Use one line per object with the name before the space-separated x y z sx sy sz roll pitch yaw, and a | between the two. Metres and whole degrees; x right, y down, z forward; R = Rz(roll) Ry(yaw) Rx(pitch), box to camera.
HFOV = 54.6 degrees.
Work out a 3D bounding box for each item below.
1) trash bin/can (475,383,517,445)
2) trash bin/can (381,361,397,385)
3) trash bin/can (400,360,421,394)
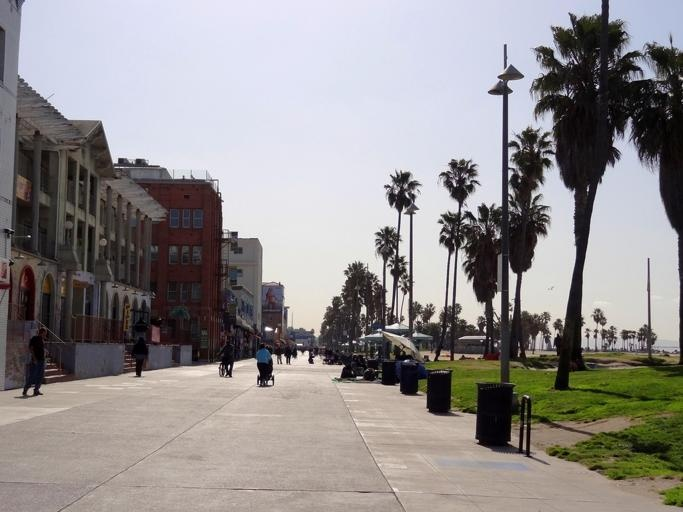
trash bin/can | 3.520 3.701 15.174 0.825 1.457 0.533 0 -9 8
trash bin/can | 2.389 5.972 33.192 0.689 1.207 1.121 1 -11 2
trash bin/can | 2.841 5.204 27.646 0.760 1.413 0.936 3 -11 -12
